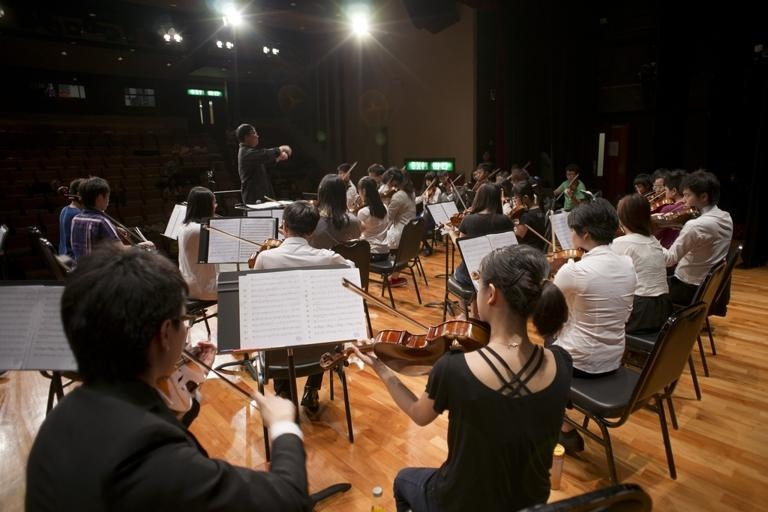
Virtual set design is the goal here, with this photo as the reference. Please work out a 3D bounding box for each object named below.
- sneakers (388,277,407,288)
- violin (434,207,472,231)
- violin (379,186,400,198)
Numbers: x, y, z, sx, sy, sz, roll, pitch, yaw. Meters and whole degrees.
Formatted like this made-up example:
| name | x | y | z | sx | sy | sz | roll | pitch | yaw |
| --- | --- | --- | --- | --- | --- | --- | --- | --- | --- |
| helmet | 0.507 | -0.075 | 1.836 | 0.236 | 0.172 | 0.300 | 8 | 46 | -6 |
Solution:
| name | x | y | z | sx | sy | sz | roll | pitch | yaw |
| --- | --- | --- | --- | --- | --- | --- | --- | --- | --- |
| sneakers | 0.195 | 0.346 | 6.822 | 0.260 | 0.117 | 0.109 | 2 | 6 | 13 |
| violin | 0.921 | -0.463 | 6.337 | 0.489 | 0.171 | 0.270 | -21 | 7 | 8 |
| violin | 0.089 | -1.000 | 7.758 | 0.268 | 0.102 | 0.276 | -9 | 30 | 24 |
